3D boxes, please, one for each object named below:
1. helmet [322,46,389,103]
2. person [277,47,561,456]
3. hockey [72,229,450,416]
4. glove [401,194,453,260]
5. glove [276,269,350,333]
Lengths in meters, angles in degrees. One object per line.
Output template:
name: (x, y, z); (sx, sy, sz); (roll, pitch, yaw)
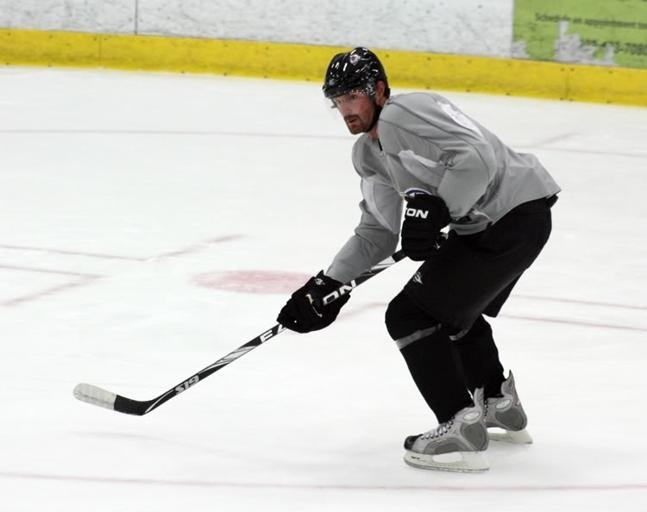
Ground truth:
helmet: (0.111, -0.590, 2.497); (0.214, 0.170, 0.173); (-30, 43, -28)
person: (0.312, -0.010, 2.413); (0.840, 1.220, 0.475); (9, 17, 13)
hockey: (-0.238, 0.271, 2.895); (1.411, 0.176, 0.101); (-24, -9, 1)
glove: (0.279, -0.083, 2.282); (0.156, 0.188, 0.074); (32, 16, 33)
glove: (-0.020, 0.169, 2.582); (0.179, 0.255, 0.096); (44, -11, 25)
